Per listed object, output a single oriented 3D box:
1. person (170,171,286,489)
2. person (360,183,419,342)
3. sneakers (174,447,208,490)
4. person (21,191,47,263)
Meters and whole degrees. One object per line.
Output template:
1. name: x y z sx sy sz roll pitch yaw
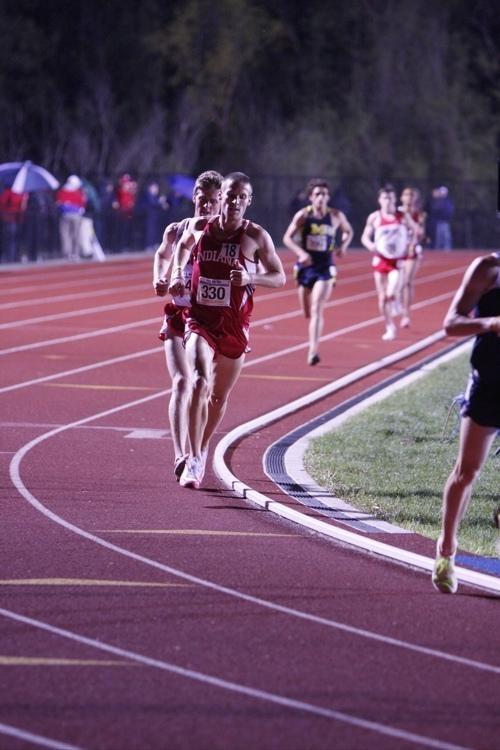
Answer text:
1. person: -0.129 -0.252 5.333 0.595 1.966 0.581 1 6 -2
2. person: 1.988 -1.644 12.484 0.552 2.282 1.046 5 7 34
3. sneakers: -0.384 0.592 5.452 0.231 0.269 0.651 6 -4 -1
4. person: -6.210 -4.192 24.522 0.609 2.798 0.324 -4 -33 1
